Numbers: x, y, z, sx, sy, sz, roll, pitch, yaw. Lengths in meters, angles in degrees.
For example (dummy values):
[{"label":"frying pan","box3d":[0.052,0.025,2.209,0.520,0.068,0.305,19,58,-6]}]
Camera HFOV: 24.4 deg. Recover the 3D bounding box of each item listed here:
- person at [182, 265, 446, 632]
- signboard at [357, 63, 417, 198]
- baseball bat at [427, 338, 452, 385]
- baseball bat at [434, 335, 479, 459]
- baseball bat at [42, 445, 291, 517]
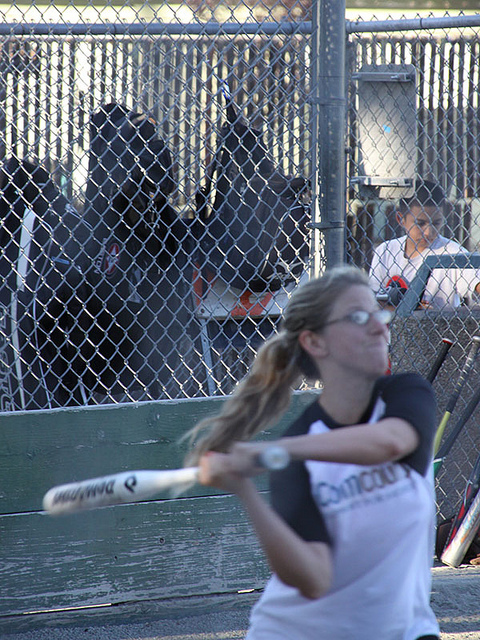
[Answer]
[{"label":"person","box3d":[0.269,0.399,3.193,0.693,1.048,0.616,5,11,6]},{"label":"signboard","box3d":[0.624,-0.798,4.736,0.275,0.565,0.247,5,11,6]},{"label":"baseball bat","box3d":[0.905,0.181,5.027,0.047,0.228,0.045,35,19,34]},{"label":"baseball bat","box3d":[0.988,0.326,5.060,0.073,0.595,0.083,22,-6,-18]},{"label":"baseball bat","box3d":[-0.255,0.449,3.027,0.673,0.093,0.096,-17,-19,31]}]
